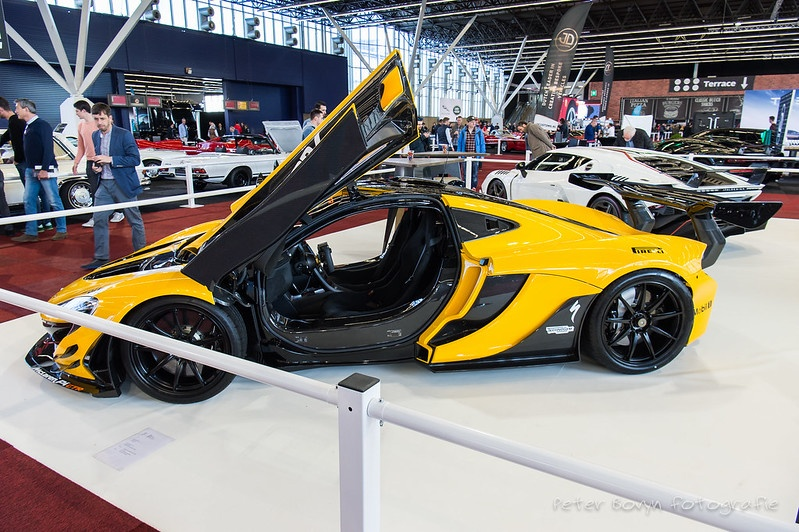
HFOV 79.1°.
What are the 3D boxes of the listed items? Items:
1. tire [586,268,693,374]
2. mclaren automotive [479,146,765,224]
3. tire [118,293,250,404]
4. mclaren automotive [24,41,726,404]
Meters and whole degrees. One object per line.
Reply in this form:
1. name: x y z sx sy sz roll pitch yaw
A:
1. tire: 1.997 0.430 4.036 0.834 0.812 0.315 -4 14 -14
2. mclaren automotive: 3.298 -1.543 8.141 2.192 1.053 3.968 -14 24 -38
3. tire: -1.584 0.579 3.533 0.888 0.870 0.311 0 2 -3
4. mclaren automotive: 0.046 -0.483 4.843 5.725 2.514 2.734 0 16 -5
